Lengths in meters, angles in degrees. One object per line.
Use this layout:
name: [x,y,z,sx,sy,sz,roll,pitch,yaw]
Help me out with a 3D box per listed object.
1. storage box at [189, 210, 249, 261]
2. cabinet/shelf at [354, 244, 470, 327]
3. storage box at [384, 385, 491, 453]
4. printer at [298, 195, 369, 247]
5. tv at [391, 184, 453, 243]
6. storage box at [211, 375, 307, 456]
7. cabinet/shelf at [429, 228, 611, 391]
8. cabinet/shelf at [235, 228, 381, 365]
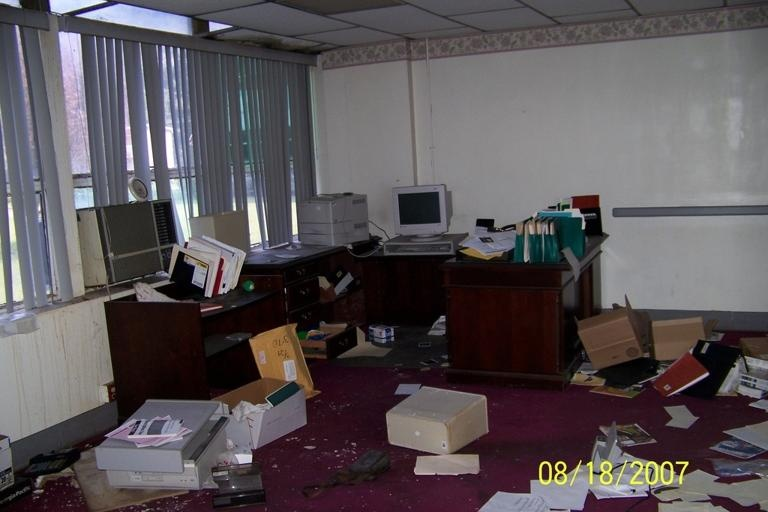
storage box: [-1.590,-0.316,5.704,0.404,0.614,0.724,1,9,23]
cabinet/shelf: [0.395,0.326,6.902,1.519,1.234,0.878,1,6,14]
storage box: [0.409,1.233,4.197,0.573,0.326,0.524,4,12,35]
printer: [-0.625,-0.410,6.649,0.669,0.593,0.687,2,4,37]
tv: [0.539,-0.521,6.594,0.749,0.606,0.442,1,5,42]
storage box: [-1.117,1.251,4.476,0.900,0.393,0.844,-1,1,-2]
cabinet/shelf: [1.211,0.499,5.104,1.093,0.873,1.938,2,8,18]
cabinet/shelf: [-0.617,0.477,6.206,0.947,1.068,1.766,4,12,19]
